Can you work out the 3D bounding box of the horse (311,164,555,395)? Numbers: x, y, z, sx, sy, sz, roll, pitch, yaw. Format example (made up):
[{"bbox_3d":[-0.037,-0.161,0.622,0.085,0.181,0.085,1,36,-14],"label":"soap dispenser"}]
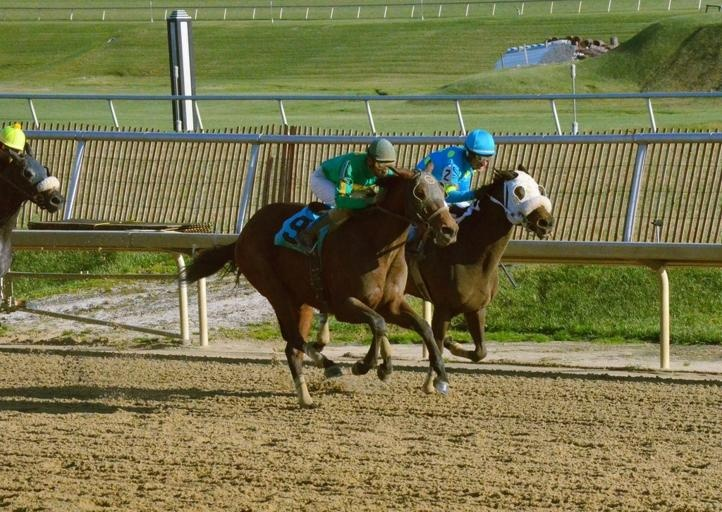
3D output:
[{"bbox_3d":[0.662,0.273,15.545,0.793,2.149,3.333,6,-5,-40],"label":"horse"}]

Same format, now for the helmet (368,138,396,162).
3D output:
[{"bbox_3d":[0.207,-1.034,14.515,0.258,0.151,0.199,33,38,28],"label":"helmet"}]

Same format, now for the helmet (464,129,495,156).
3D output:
[{"bbox_3d":[1.208,-1.169,15.056,0.296,0.270,0.311,-2,7,3],"label":"helmet"}]

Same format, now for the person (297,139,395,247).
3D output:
[{"bbox_3d":[-0.126,-0.703,15.046,1.405,1.050,0.679,-4,3,36],"label":"person"}]
